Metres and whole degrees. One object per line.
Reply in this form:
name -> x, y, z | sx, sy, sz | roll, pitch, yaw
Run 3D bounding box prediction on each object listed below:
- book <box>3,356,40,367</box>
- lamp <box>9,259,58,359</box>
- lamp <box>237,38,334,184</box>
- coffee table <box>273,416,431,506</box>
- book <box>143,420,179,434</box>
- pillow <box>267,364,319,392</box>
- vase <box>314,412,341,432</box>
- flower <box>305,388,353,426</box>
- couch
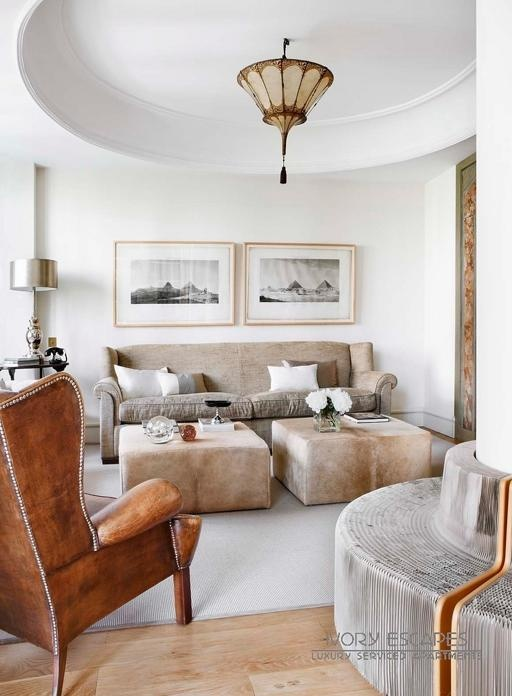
book -> -1.906, 0.111, 4.550 | 0.272, 0.065, 0.178 | -1, 2, -18
lamp -> -1.935, -0.360, 4.874 | 0.383, 0.861, 0.538 | -1, 3, -23
lamp -> 0.153, -1.561, 3.526 | 0.647, 0.919, 0.666 | -1, 15, -7
coffee table -> 0.512, 0.658, 3.505 | 0.601, 0.285, 0.546 | -1, 3, -22
book -> -0.554, 0.443, 3.266 | 0.150, 0.036, 0.153 | 1, 4, 4
pillow -> 0.340, 0.267, 5.157 | 0.463, 0.218, 0.446 | 0, 2, 4
vase -> 0.445, 0.461, 3.441 | 0.116, 0.116, 0.118 | 0, 2, -29
flower -> 0.445, 0.341, 3.429 | 0.236, 0.211, 0.238 | -3, -4, 37
couch -> -0.117, 0.423, 5.110 | 2.555, 1.010, 0.801 | -2, -2, -4
